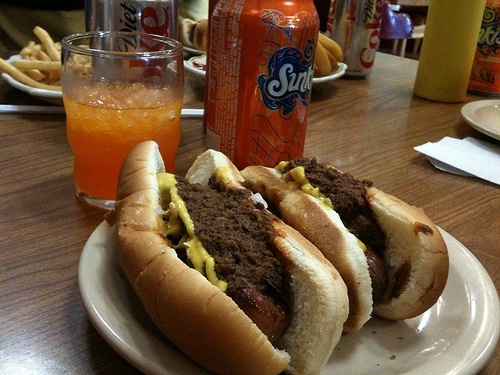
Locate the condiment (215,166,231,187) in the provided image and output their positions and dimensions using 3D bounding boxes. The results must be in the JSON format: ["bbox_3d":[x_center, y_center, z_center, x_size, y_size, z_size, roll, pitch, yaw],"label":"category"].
[{"bbox_3d":[-0.051,-0.021,0.814,0.021,0.014,0.041,4,37,-7],"label":"condiment"}]

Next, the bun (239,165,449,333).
[{"bbox_3d":[0.172,0.113,0.843,0.185,0.144,0.368,-22,47,-33],"label":"bun"}]

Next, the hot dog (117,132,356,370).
[{"bbox_3d":[-0.057,0.093,0.709,0.252,0.163,0.476,-15,43,-23],"label":"hot dog"}]

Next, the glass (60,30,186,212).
[{"bbox_3d":[-0.303,-0.156,1.000,0.268,0.382,0.246,2,17,-10],"label":"glass"}]
